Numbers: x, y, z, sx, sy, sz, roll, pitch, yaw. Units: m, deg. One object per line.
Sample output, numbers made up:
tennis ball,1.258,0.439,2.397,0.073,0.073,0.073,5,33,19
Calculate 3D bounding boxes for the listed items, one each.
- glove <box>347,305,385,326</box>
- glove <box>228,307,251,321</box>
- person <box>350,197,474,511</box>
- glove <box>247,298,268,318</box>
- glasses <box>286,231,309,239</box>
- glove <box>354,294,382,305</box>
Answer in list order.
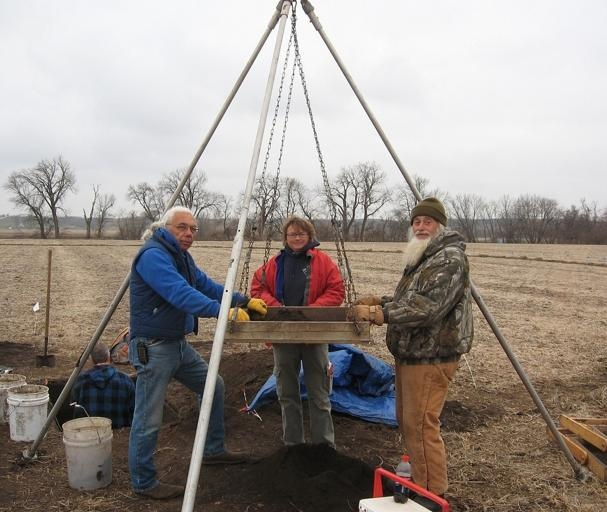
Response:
glove,0.521,0.486,3.978,0.254,0.149,0.194,1,3,-8
glove,-0.559,0.501,4.072,0.108,0.061,0.157,4,-1,10
person,1.021,0.713,4.142,0.665,2.470,0.905,4,4,39
glove,-0.425,0.485,4.477,0.126,0.082,0.179,11,-5,26
glasses,-0.070,-0.210,5.006,0.210,0.067,0.065,2,3,2
glove,0.591,0.415,4.422,0.152,0.062,0.121,-5,0,15
